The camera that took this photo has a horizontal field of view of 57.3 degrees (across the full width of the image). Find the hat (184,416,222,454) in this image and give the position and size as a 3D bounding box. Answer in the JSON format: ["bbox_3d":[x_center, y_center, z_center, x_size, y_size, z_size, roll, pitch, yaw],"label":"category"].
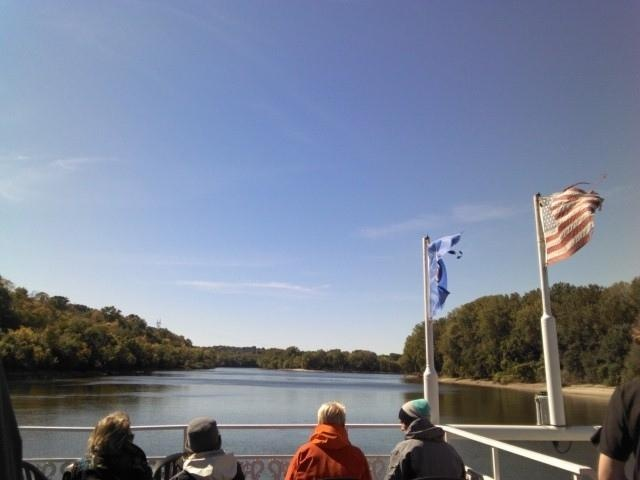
[{"bbox_3d":[-1.694,2.867,8.689,0.395,0.606,0.544,-1,5,-1],"label":"hat"}]

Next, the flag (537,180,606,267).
[{"bbox_3d":[5.611,-0.434,13.118,1.291,0.237,1.831,-19,-59,4],"label":"flag"}]
